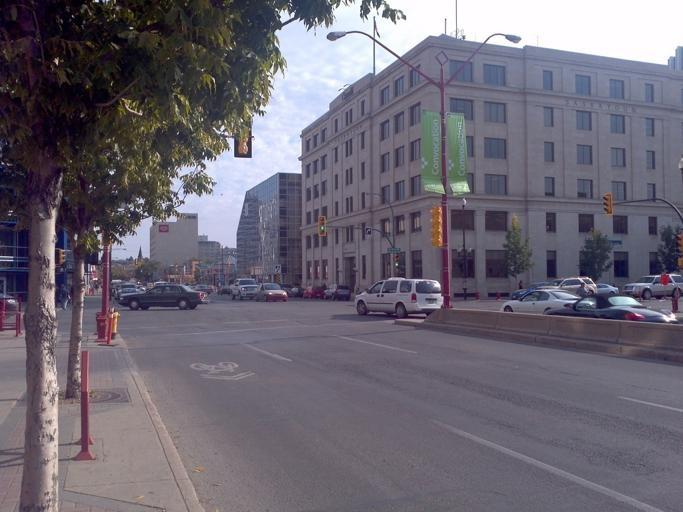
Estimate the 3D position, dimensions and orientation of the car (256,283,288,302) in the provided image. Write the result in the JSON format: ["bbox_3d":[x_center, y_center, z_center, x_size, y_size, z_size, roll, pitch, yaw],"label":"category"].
[{"bbox_3d":[-5.561,2.802,54.099,1.060,1.001,2.528,1,-9,-20],"label":"car"}]

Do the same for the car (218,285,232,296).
[{"bbox_3d":[-14.721,4.210,87.394,1.197,1.257,2.300,2,-11,-21],"label":"car"}]

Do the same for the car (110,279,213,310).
[{"bbox_3d":[-10.333,2.360,40.567,4.186,1.468,1.073,1,-4,-6],"label":"car"}]

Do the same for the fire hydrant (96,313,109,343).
[{"bbox_3d":[-7.027,2.104,20.576,0.301,0.854,0.892,2,-5,-25],"label":"fire hydrant"}]

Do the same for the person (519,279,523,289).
[{"bbox_3d":[15.250,2.436,59.704,0.209,0.793,0.640,-3,5,-3],"label":"person"}]

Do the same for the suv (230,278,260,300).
[{"bbox_3d":[-8.192,2.751,59.202,1.439,1.345,2.833,1,-8,-21],"label":"suv"}]

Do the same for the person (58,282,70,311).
[{"bbox_3d":[-17.129,2.599,43.188,0.499,0.807,1.825,18,-20,-9],"label":"person"}]

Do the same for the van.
[{"bbox_3d":[2.689,1.819,30.589,1.590,1.495,3.388,3,0,-31],"label":"van"}]
